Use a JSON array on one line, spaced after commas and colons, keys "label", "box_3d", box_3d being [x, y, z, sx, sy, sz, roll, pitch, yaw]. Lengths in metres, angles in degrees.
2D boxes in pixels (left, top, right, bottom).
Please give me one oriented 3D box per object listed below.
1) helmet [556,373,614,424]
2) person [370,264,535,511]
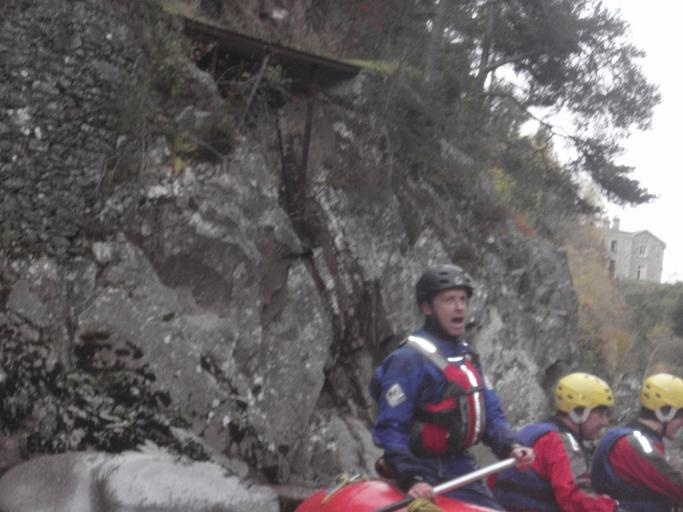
[{"label": "helmet", "box_3d": [2.087, 1.204, 11.280, 0.486, 0.487, 0.435, 7, 11, 21]}, {"label": "person", "box_3d": [0.779, 1.000, 10.312, 1.096, 1.814, 0.382, 11, -14, -17]}]
